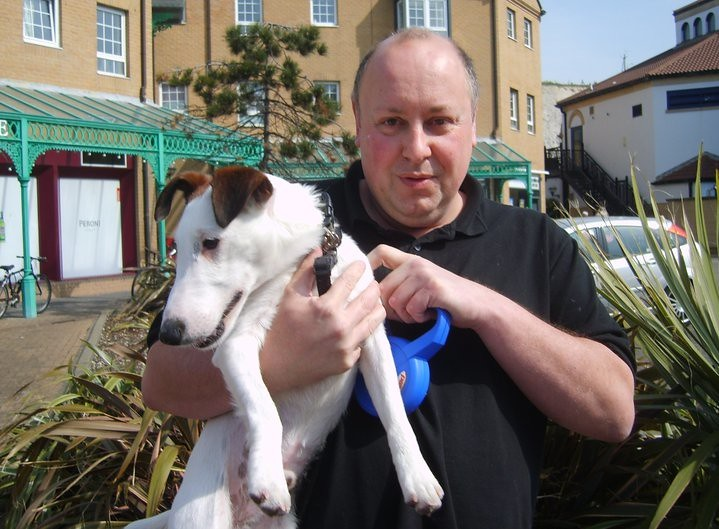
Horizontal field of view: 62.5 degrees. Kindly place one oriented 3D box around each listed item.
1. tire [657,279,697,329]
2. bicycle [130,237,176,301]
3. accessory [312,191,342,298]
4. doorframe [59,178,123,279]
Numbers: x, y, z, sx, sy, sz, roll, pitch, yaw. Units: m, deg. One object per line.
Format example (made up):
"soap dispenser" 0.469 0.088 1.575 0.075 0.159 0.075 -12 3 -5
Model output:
"tire" 2.024 0.239 3.738 0.263 0.327 0.101 8 7 -9
"bicycle" -3.562 0.267 10.478 0.724 0.825 1.207 -18 2 -16
"accessory" -0.153 -0.107 2.892 0.093 0.371 0.241 3 -2 -3
"doorframe" -7.309 -0.964 15.839 0.236 2.971 2.296 0 2 24
